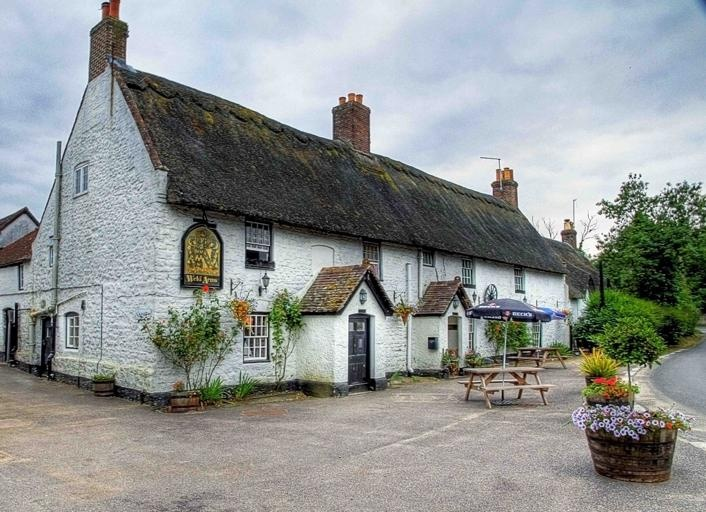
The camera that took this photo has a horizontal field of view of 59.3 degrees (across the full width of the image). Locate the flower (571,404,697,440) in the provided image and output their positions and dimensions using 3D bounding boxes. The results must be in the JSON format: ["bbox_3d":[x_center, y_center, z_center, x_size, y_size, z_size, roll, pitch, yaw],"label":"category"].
[{"bbox_3d":[5.090,2.974,11.208,1.159,0.291,0.961,0,-3,-12],"label":"flower"}]

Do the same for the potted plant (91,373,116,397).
[{"bbox_3d":[-7.387,3.868,18.464,0.666,0.442,0.643,0,-12,3],"label":"potted plant"}]

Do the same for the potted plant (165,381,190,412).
[{"bbox_3d":[-4.680,3.762,16.629,0.547,0.769,0.456,2,-9,-15],"label":"potted plant"}]

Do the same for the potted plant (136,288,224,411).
[{"bbox_3d":[-4.648,2.514,18.149,3.086,3.297,2.692,-2,1,9],"label":"potted plant"}]

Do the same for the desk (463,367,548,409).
[{"bbox_3d":[4.375,3.723,17.885,2.090,0.850,1.814,1,-4,-15],"label":"desk"}]

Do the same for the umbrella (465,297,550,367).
[{"bbox_3d":[5.101,2.349,20.531,2.572,1.765,2.607,7,-8,-44],"label":"umbrella"}]

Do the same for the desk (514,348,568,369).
[{"bbox_3d":[8.266,4.517,27.805,1.842,0.674,2.081,-3,-5,36],"label":"desk"}]

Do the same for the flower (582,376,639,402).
[{"bbox_3d":[4.978,2.636,12.278,0.896,0.446,0.834,1,-3,-22],"label":"flower"}]

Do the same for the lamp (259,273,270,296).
[{"bbox_3d":[-2.761,0.849,19.290,0.339,0.723,0.493,1,-9,-7],"label":"lamp"}]

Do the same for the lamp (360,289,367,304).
[{"bbox_3d":[0.352,1.333,20.299,0.134,0.516,0.353,-6,-10,30],"label":"lamp"}]

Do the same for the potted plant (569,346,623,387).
[{"bbox_3d":[6.407,2.951,15.865,1.067,0.771,1.013,4,-6,19],"label":"potted plant"}]
